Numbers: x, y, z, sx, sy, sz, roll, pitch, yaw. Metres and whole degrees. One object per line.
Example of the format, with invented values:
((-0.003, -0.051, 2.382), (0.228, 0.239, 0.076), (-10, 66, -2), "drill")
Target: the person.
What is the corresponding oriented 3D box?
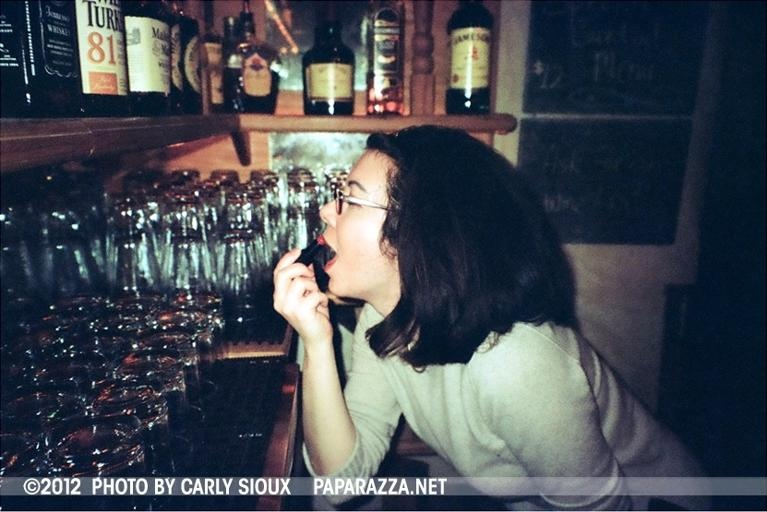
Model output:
((0.308, 0.018, 2.581), (1.676, 1.949, 0.940), (-10, 18, -10), "person")
